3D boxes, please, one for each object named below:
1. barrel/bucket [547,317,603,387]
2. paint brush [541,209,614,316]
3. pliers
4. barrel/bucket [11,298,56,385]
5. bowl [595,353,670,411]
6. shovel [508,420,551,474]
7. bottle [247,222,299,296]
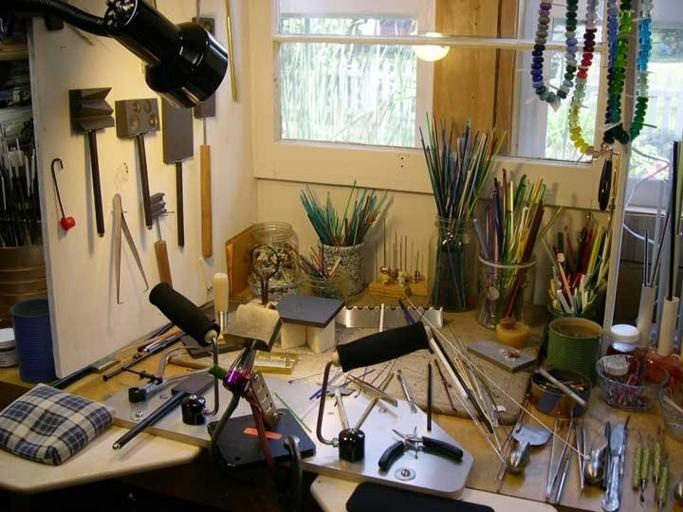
[{"bbox_3d":[0.595,0.242,1.450,0.144,0.182,0.162,2,24,7],"label":"barrel/bucket"},{"bbox_3d":[0.674,0.054,1.606,0.173,0.338,0.196,5,20,12],"label":"paint brush"},{"bbox_3d":[0.163,0.407,1.153,0.183,0.028,0.117,-3,17,-6],"label":"pliers"},{"bbox_3d":[-0.805,0.224,1.407,0.089,0.200,0.127,-11,18,-32],"label":"barrel/bucket"},{"bbox_3d":[0.739,0.317,1.368,0.167,0.131,0.145,-26,28,-37],"label":"bowl"},{"bbox_3d":[0.415,0.426,1.198,0.076,0.046,0.175,0,13,36],"label":"shovel"},{"bbox_3d":[-0.233,0.006,1.864,0.171,0.293,0.177,2,27,-1],"label":"bottle"}]
